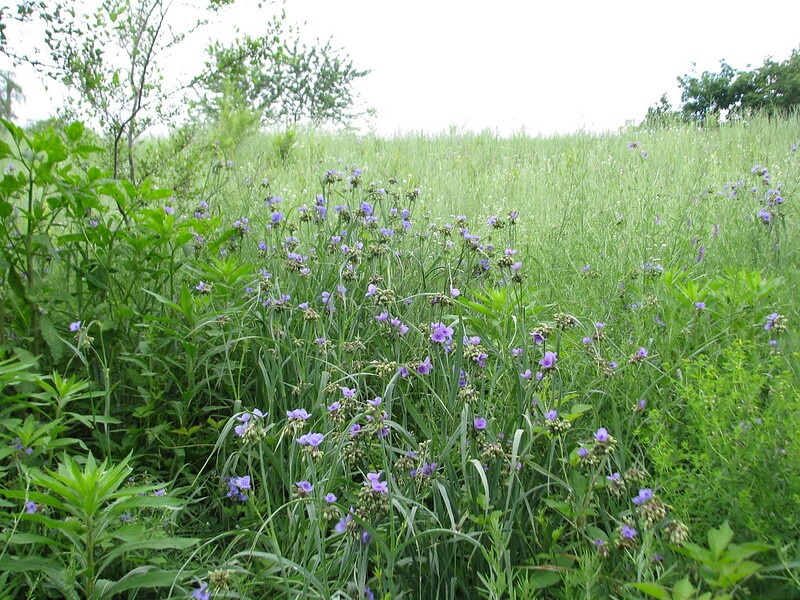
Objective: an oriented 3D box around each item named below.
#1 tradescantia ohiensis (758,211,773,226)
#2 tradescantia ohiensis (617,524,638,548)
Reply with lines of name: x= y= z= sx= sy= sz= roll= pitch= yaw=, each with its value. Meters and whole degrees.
tradescantia ohiensis: x=2.843 y=-0.628 z=4.731 sx=0.085 sy=0.099 sz=0.083 roll=9 pitch=-26 yaw=14
tradescantia ohiensis: x=0.928 y=0.958 z=2.483 sx=0.072 sy=0.104 sz=0.116 roll=6 pitch=9 yaw=24
